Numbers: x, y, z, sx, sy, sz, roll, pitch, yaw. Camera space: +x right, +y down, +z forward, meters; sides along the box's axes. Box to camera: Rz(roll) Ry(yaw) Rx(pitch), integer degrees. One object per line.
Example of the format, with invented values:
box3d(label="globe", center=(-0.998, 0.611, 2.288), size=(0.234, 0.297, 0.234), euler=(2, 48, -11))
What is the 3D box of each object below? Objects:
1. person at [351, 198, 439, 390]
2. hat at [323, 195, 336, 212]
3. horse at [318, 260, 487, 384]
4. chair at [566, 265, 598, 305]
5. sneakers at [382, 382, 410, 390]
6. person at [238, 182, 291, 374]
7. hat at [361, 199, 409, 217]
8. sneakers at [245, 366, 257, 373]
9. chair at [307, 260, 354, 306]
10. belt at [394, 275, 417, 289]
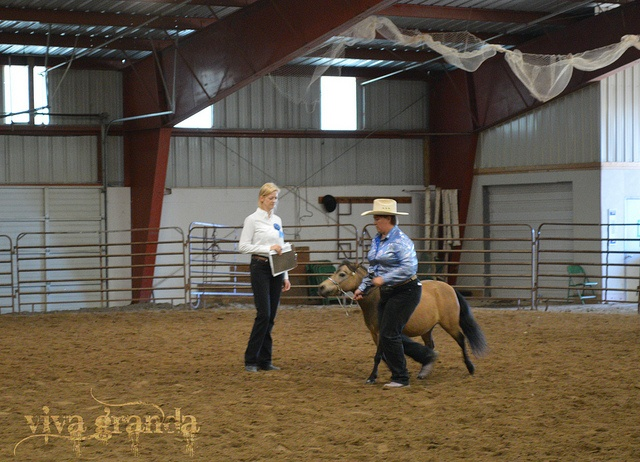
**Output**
box3d(label="person", center=(0.889, 0.766, 10.707), size=(0.963, 2.310, 0.476), euler=(0, 0, -9))
box3d(label="hat", center=(0.204, -0.639, 20.701), size=(0.280, 0.398, 0.161), euler=(0, 0, -31))
box3d(label="horse", center=(1.079, 1.124, 10.962), size=(2.611, 1.362, 0.612), euler=(5, -7, -37))
box3d(label="chair", center=(5.124, 1.045, 17.032), size=(0.580, 0.726, 2.271), euler=(0, 0, 16))
box3d(label="sneakers", center=(0.930, 1.879, 10.642), size=(0.317, 0.100, 0.104), euler=(4, -11, -5))
box3d(label="person", center=(-0.710, 0.603, 11.174), size=(0.634, 2.414, 0.358), euler=(0, 0, 1))
box3d(label="hat", center=(0.826, -0.288, 10.625), size=(0.424, 0.124, 0.327), euler=(0, -3, -4))
box3d(label="sneakers", center=(-0.881, 1.777, 11.241), size=(0.124, 0.033, 0.082), euler=(-2, 6, -4))
box3d(label="chair", center=(-0.042, 1.026, 17.797), size=(1.086, 1.062, 0.810), euler=(-1, 0, -13))
box3d(label="belt", center=(1.042, 0.590, 10.580), size=(0.198, 0.060, 0.172), euler=(-30, -3, 5))
